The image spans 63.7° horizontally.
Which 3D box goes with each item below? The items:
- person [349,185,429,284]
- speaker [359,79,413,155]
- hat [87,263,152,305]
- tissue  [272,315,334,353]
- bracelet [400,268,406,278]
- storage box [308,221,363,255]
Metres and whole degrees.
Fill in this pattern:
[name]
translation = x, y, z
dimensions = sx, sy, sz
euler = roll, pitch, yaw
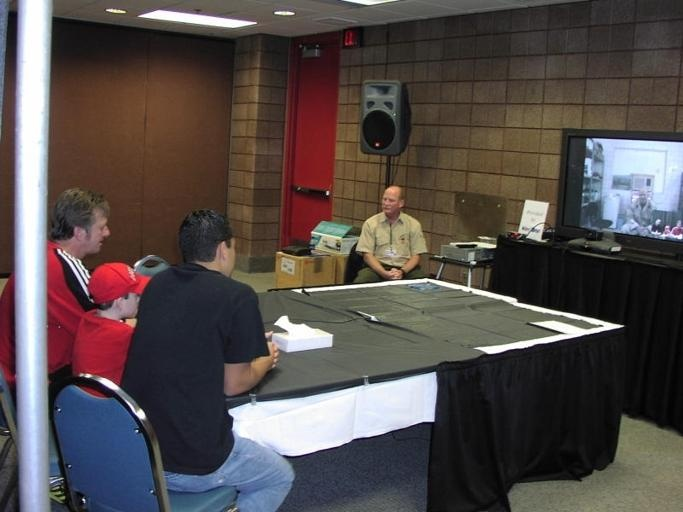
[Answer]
[person]
translation = 0.479, -0.245, 5.303
dimensions = 0.792, 1.125, 0.825
euler = 1, 7, 3
[speaker]
translation = 0.450, -1.485, 5.862
dimensions = 0.514, 0.787, 0.294
euler = 10, 11, 30
[hat]
translation = -0.804, 0.111, 2.029
dimensions = 0.206, 0.111, 0.133
euler = -20, 32, -28
[tissue ]
translation = -0.190, 0.362, 2.489
dimensions = 0.156, 0.100, 0.155
euler = -4, 8, -33
[bracelet]
translation = 0.564, 0.152, 5.011
dimensions = 0.032, 0.079, 0.055
euler = -3, -3, 13
[storage box]
translation = -0.032, -0.252, 5.928
dimensions = 0.411, 0.300, 0.415
euler = 9, 11, 42
